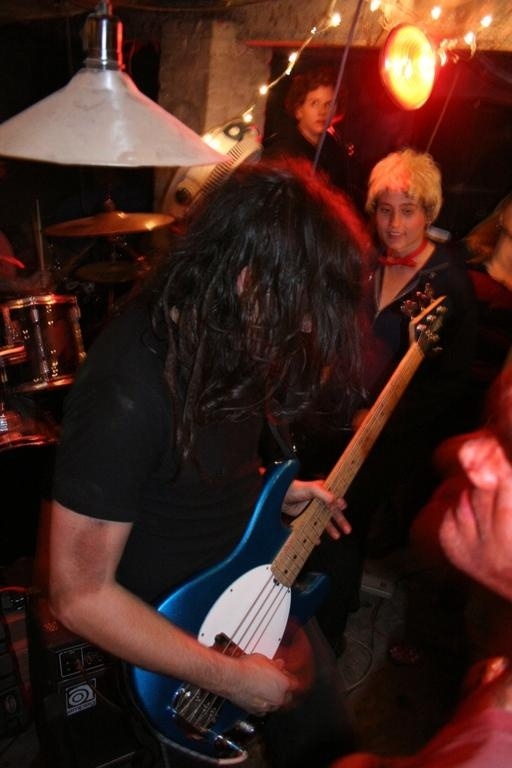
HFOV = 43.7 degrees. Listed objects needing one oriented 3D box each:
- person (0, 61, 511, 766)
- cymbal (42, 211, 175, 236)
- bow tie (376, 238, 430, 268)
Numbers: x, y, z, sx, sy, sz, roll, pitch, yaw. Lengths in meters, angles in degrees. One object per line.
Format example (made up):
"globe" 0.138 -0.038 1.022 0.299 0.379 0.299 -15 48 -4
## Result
"person" -0.097 0.131 1.469 0.570 1.111 0.782 14 35 0
"cymbal" -0.896 -0.975 3.911 0.395 0.085 0.372 -11 29 -26
"bow tie" 0.739 -0.632 3.116 0.214 0.059 0.139 -25 36 -32
